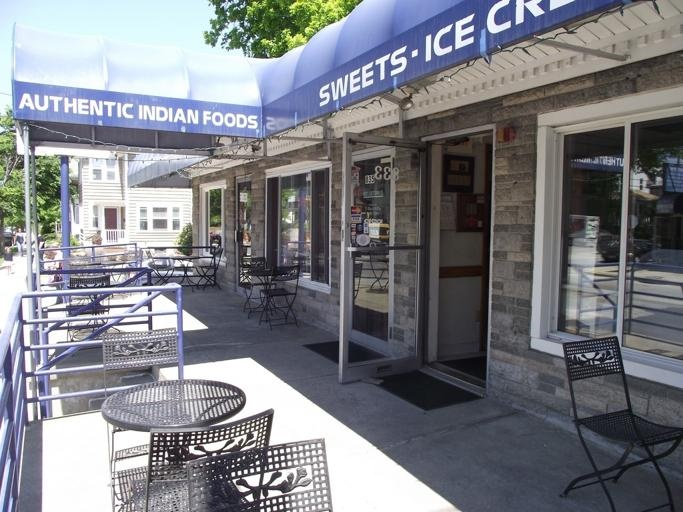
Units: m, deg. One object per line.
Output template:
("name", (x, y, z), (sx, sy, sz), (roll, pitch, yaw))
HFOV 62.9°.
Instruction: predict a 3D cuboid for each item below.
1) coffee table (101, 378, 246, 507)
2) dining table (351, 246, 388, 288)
("coffee table", (-1.199, 1.192, 3.948), (0.874, 0.671, 0.929), (-1, 14, -25))
("dining table", (0.393, 0.030, 6.987), (0.539, 0.522, 0.835), (-3, 0, -2))
